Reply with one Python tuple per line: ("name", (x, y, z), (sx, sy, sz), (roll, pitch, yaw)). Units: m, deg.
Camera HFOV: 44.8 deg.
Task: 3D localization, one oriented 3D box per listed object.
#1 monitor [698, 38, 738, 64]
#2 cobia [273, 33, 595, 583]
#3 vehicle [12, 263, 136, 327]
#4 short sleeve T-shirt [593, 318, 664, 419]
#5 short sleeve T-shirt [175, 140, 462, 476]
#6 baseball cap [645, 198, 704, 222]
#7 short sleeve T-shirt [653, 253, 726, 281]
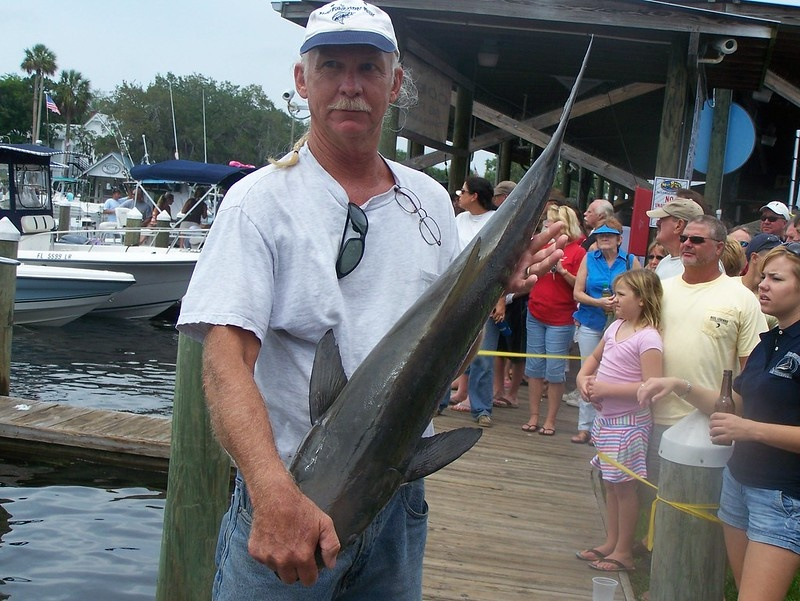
("monitor", (3.167, -2.467, 9.635), (0.230, 0.130, 0.387), (25, 9, -19))
("cobia", (0.014, 0.111, 4.824), (0.980, 2.914, 0.735), (36, -14, -6))
("vehicle", (-6.220, -0.058, 17.803), (1.608, 0.887, 3.249), (-9, -5, 24))
("short sleeve T-shirt", (1.618, 0.534, 7.294), (0.592, 0.808, 0.428), (5, 1, 25))
("short sleeve T-shirt", (-0.387, -0.037, 4.911), (0.707, 1.436, 1.921), (14, 12, 38))
("baseball cap", (2.233, -0.752, 8.007), (0.428, 0.148, 0.273), (10, 15, 38))
("short sleeve T-shirt", (2.277, -0.287, 7.971), (0.376, 0.220, 0.470), (1, 7, -42))
